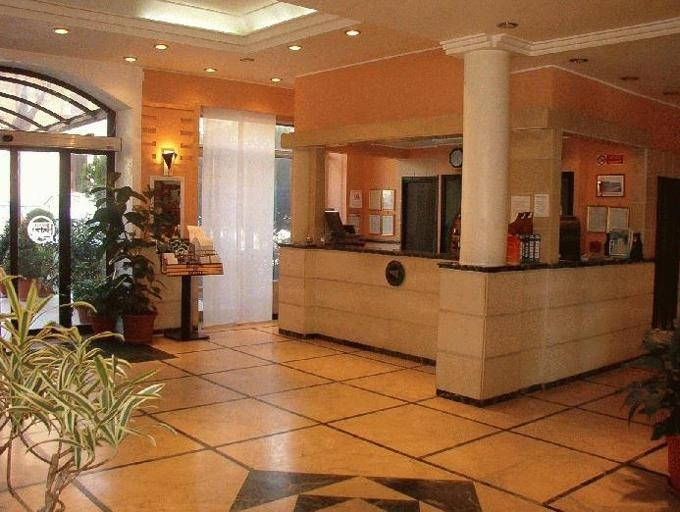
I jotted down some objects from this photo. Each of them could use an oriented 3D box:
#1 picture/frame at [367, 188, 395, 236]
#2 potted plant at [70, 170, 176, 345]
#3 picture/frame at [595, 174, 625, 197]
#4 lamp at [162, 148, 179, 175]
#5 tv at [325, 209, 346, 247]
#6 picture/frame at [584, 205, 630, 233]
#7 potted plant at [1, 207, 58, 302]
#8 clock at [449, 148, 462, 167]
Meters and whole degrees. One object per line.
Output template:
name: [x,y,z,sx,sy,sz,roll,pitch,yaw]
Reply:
picture/frame: [0.969,-1.013,12.291,0.098,1.235,1.066,-8,13,-39]
potted plant: [-3.225,0.049,8.070,1.334,2.455,0.978,1,5,-4]
picture/frame: [4.792,-1.233,9.397,0.038,0.363,0.466,-2,5,-45]
lamp: [-2.696,-1.492,8.473,0.267,0.421,0.209,-2,6,-32]
tv: [-0.085,-0.470,8.640,0.362,0.551,0.669,1,5,0]
picture/frame: [4.644,-0.629,9.194,0.600,0.389,0.085,8,11,42]
potted plant: [-4.493,-0.047,7.906,0.566,1.290,0.251,-3,7,-37]
clock: [2.242,-1.901,10.378,0.105,0.377,0.319,-3,6,-39]
